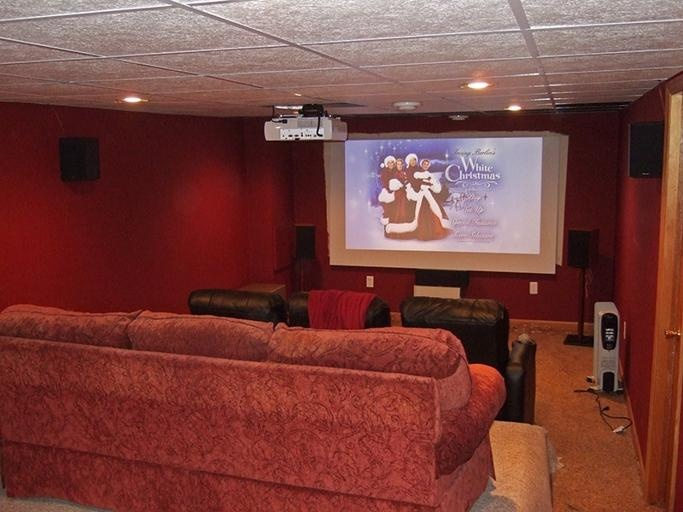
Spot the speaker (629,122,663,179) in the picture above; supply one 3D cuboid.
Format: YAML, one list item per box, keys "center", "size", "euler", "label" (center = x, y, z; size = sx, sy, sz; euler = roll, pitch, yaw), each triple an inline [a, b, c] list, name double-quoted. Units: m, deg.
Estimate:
- center: [1.940, -0.671, 3.448]
  size: [0.220, 0.345, 0.103]
  euler: [7, 15, 35]
  label: "speaker"

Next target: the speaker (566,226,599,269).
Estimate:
- center: [2.842, -0.092, 6.342]
  size: [0.329, 0.426, 0.286]
  euler: [2, 12, 19]
  label: "speaker"

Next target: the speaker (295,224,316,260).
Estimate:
- center: [-0.520, -0.184, 7.325]
  size: [0.329, 0.459, 0.131]
  euler: [4, 13, 27]
  label: "speaker"

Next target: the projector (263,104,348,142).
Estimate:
- center: [-0.297, -1.176, 4.789]
  size: [0.669, 0.305, 0.795]
  euler: [-1, 11, 1]
  label: "projector"
